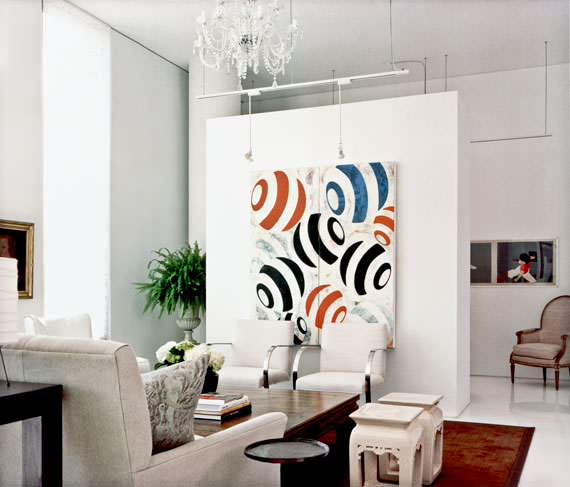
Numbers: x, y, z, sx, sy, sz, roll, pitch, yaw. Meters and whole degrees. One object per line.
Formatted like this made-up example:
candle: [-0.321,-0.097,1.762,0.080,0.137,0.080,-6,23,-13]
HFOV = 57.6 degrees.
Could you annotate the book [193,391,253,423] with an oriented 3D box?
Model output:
book: [-0.344,0.908,3.073,0.311,0.123,0.239,-2,-2,30]

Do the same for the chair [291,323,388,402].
chair: [0.516,1.174,4.714,0.807,1.041,0.928,2,-12,-1]

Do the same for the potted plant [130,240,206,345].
potted plant: [-1.514,0.571,6.823,1.037,1.133,1.075,0,1,-31]

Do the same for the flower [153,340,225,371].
flower: [-0.651,0.719,3.404,0.403,0.256,0.427,0,-7,12]
